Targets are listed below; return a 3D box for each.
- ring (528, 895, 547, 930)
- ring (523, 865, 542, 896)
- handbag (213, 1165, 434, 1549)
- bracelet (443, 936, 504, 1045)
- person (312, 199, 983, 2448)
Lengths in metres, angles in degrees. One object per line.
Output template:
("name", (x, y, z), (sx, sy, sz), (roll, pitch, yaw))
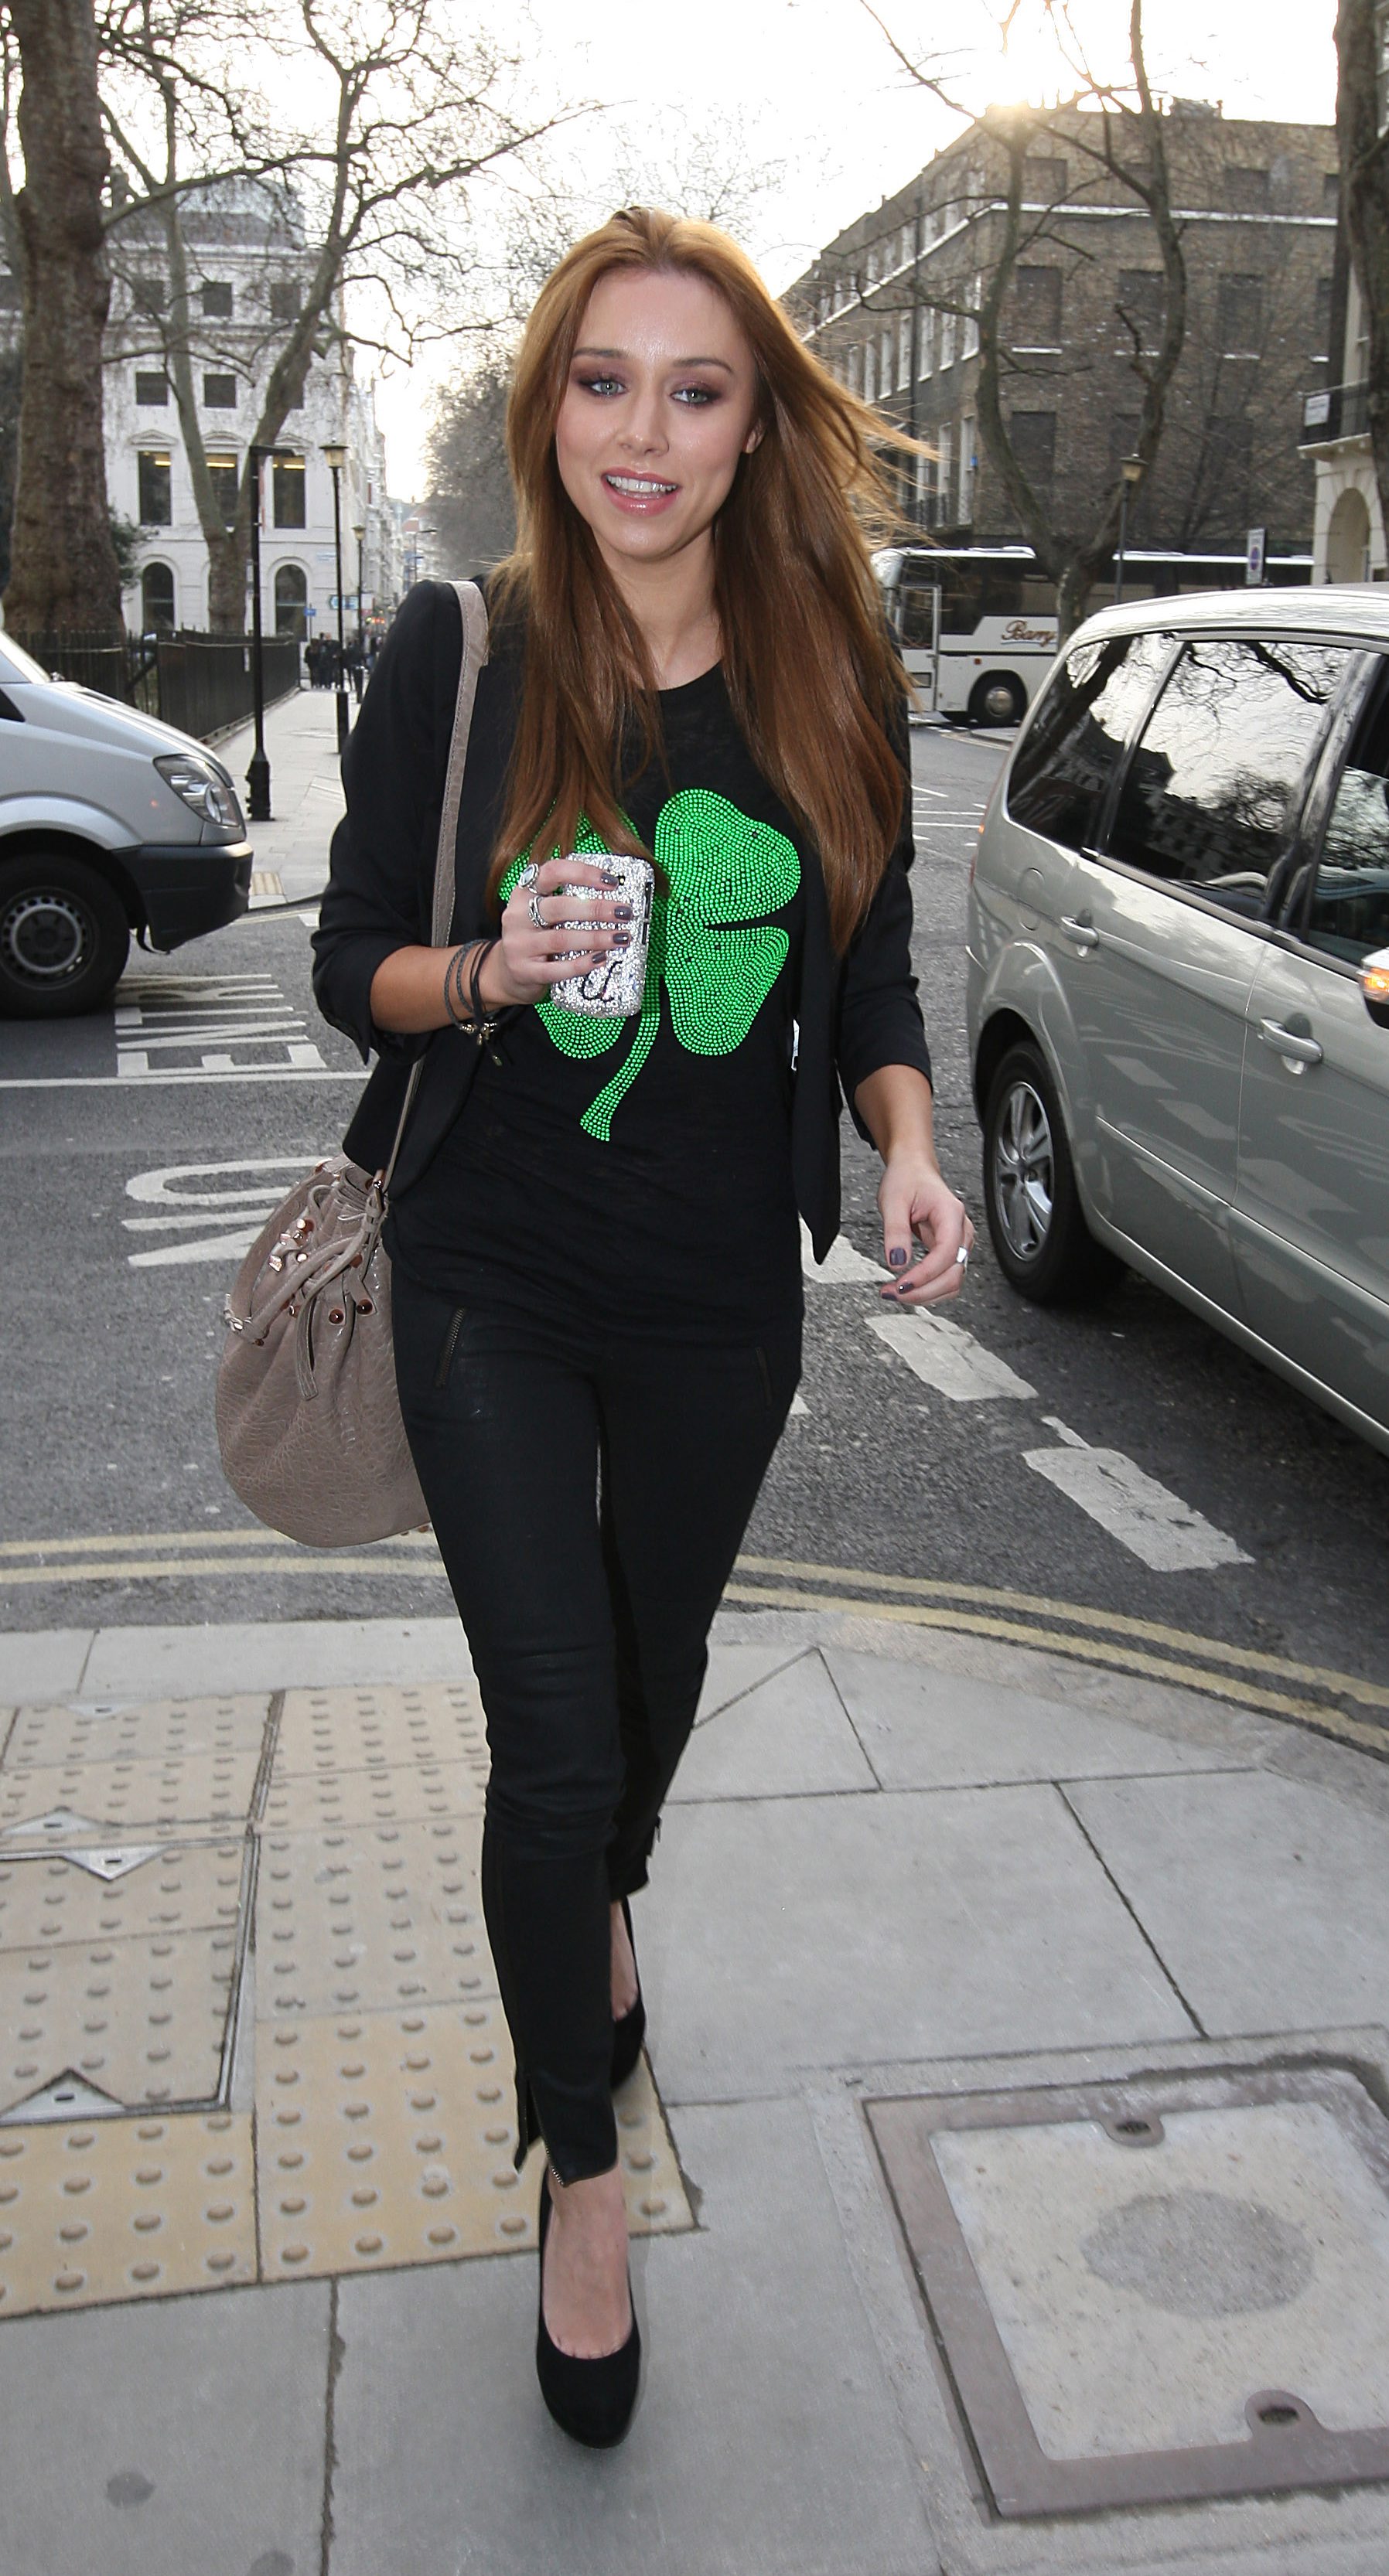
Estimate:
("ring", (-0.108, -0.259, 1.196), (0.008, 0.026, 0.019), (-2, 5, 0))
("ring", (-0.114, -0.288, 1.219), (0.008, 0.023, 0.015), (3, -2, -36))
("handbag", (-0.346, 0.069, 1.724), (0.189, 0.328, 0.339), (7, 4, -42))
("bracelet", (-0.167, -0.228, 1.291), (0.020, 0.065, 0.050), (1, -2, 25))
("person", (-0.029, 0.018, 1.520), (0.555, 1.864, 0.421), (-3, 7, -42))
